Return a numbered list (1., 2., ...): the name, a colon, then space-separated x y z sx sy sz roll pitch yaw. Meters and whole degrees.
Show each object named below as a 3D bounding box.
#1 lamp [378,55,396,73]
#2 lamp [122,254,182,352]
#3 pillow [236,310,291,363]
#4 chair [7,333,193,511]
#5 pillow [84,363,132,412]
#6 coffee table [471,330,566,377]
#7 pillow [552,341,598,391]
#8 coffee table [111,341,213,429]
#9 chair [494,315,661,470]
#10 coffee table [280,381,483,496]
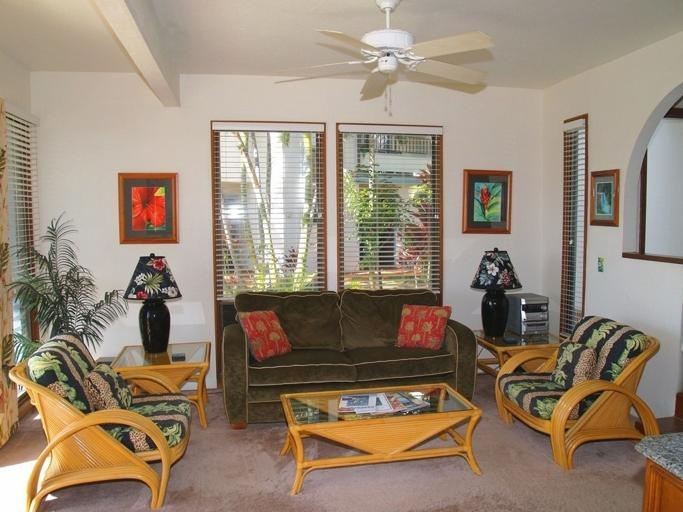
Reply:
1. lamp: 0.307 -1.279 3.330 0.125 0.095 0.123 -1 11 0
2. lamp: -1.806 0.466 4.808 0.563 0.910 0.598 5 7 43
3. pillow: -0.719 0.705 4.576 0.140 0.421 0.466 -37 -13 30
4. chair: -1.576 1.067 3.704 1.249 0.986 1.177 1 8 -12
5. pillow: -1.674 0.951 3.471 0.093 0.293 0.304 -33 6 14
6. coffee table: 1.821 0.964 5.146 0.683 0.392 0.659 -4 7 -27
7. pillow: 1.872 0.885 3.994 0.117 0.320 0.338 14 -3 -25
8. coffee table: -1.600 1.187 4.618 0.855 0.478 0.830 1 -3 -8
9. chair: 1.936 1.039 4.130 1.064 0.966 0.892 -3 11 -11
10. coffee table: 0.282 1.297 3.799 1.346 0.493 0.695 -2 9 -8
